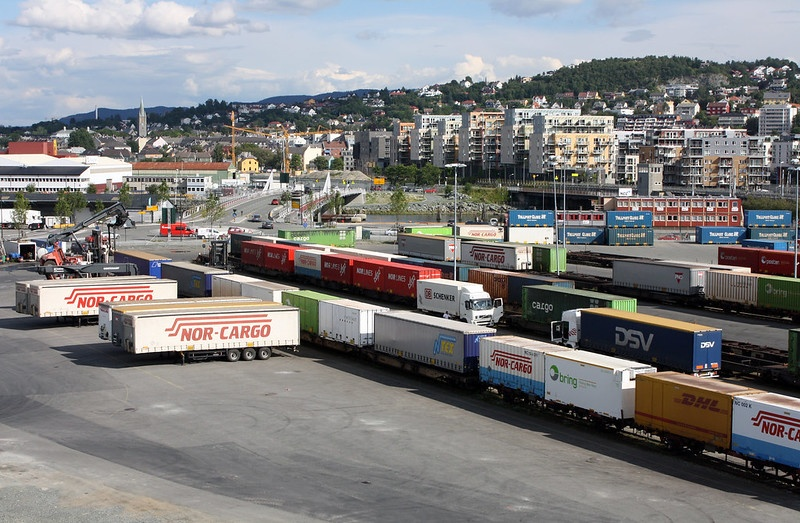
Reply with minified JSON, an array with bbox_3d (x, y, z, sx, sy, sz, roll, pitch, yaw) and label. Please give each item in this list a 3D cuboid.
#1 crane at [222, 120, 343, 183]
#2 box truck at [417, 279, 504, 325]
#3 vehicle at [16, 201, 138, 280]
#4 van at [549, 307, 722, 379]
[{"bbox_3d":[-43.869,-43.686,454.976,48.618,28.884,4.741,-5,7,-35],"label":"crane"},{"bbox_3d":[4.697,3.323,97.406,3.285,3.332,8.418,-4,8,-30],"label":"box truck"},{"bbox_3d":[-30.282,-2.702,112.743,8.902,5.899,2.807,-8,7,-13],"label":"vehicle"},{"bbox_3d":[17.004,5.948,86.818,3.786,3.300,12.515,7,2,-42],"label":"van"}]
